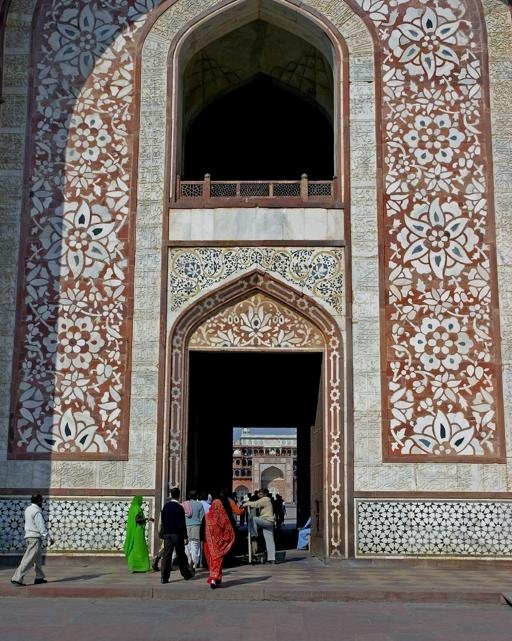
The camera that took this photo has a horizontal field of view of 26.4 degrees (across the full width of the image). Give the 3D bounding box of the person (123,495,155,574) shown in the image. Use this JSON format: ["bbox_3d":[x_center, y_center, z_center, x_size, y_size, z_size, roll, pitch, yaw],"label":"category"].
[{"bbox_3d":[-1.186,2.174,11.071,0.259,0.764,0.424,2,-12,-5],"label":"person"}]
